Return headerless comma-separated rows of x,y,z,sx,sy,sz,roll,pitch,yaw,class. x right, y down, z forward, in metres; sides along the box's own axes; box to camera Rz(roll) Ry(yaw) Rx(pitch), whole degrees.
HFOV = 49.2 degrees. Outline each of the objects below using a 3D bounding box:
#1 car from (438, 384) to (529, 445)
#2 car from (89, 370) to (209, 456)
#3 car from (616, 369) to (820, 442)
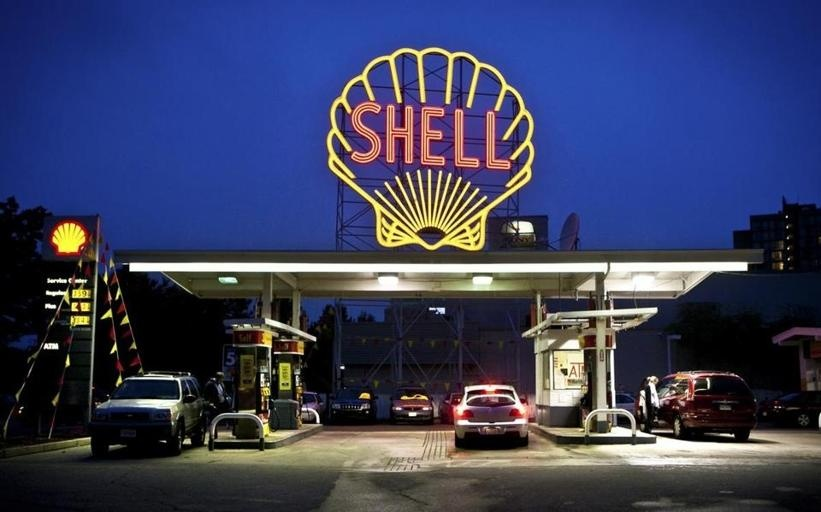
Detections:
2.727,5.387,30.247,2.394,2.037,1.130,-1,-10,2,car
-8.262,5.103,29.233,2.333,2.669,3.647,-7,-12,31,car
10.488,5.506,33.074,2.094,2.554,3.730,5,-12,-30,car
